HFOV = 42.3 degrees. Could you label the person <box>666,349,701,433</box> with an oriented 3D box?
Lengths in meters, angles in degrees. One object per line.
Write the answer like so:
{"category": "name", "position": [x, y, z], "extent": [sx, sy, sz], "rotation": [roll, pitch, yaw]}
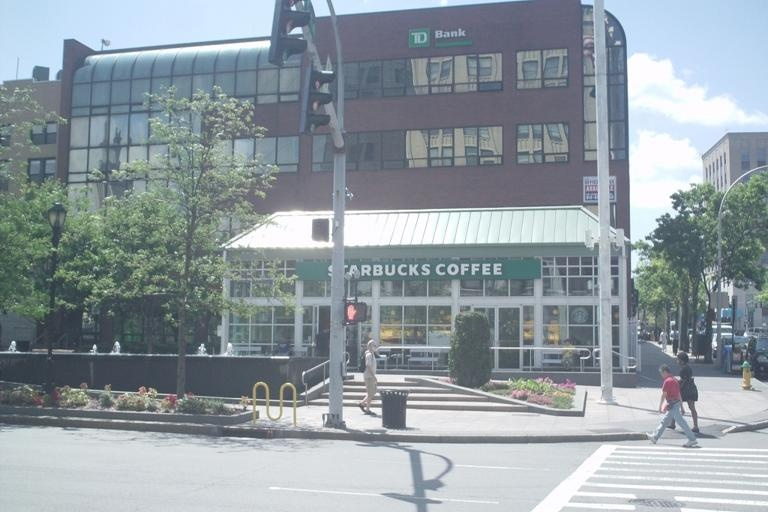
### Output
{"category": "person", "position": [12.434, 5.676, 41.192], "extent": [0.980, 3.331, 1.007], "rotation": [-2, -1, -39]}

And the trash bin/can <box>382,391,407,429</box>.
{"category": "trash bin/can", "position": [0.382, 6.287, 40.739], "extent": [1.048, 1.571, 0.447], "rotation": [1, -6, -2]}
